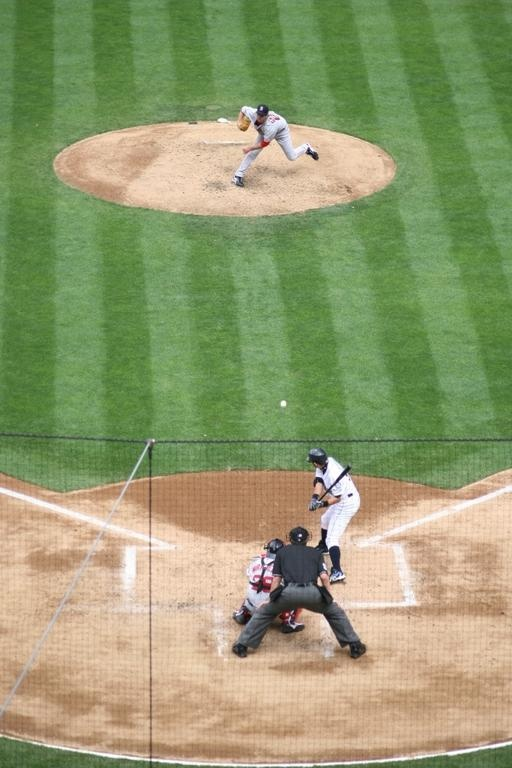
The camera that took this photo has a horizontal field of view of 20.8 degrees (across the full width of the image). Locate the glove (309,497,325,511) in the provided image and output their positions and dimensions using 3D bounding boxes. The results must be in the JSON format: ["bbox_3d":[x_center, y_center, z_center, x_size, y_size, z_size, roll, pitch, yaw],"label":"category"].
[{"bbox_3d":[0.672,1.353,15.477,0.153,0.070,0.150,13,61,13],"label":"glove"}]

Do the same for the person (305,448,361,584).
[{"bbox_3d":[0.870,1.584,15.892,0.662,1.310,0.763,-11,45,-9],"label":"person"}]

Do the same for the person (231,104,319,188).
[{"bbox_3d":[0.218,-3.783,21.098,1.529,1.262,0.611,-24,48,-25],"label":"person"}]

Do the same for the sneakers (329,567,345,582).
[{"bbox_3d":[0.919,2.194,15.812,0.257,0.154,0.088,-4,8,-19],"label":"sneakers"}]

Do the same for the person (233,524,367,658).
[{"bbox_3d":[0.476,2.318,15.056,1.271,1.233,0.603,3,16,1],"label":"person"}]

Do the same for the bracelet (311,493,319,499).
[{"bbox_3d":[0.662,1.259,15.439,0.057,0.055,0.058,4,6,42],"label":"bracelet"}]

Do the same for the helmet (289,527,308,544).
[{"bbox_3d":[0.443,1.584,14.574,0.142,0.114,0.194,1,37,-2],"label":"helmet"}]

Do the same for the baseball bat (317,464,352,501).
[{"bbox_3d":[0.869,1.119,15.612,0.516,0.058,0.086,-45,48,3],"label":"baseball bat"}]

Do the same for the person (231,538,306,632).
[{"bbox_3d":[0.150,2.196,15.026,0.806,0.894,0.614,8,-3,17],"label":"person"}]

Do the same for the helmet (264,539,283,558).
[{"bbox_3d":[0.179,1.751,14.787,0.155,0.202,0.185,8,41,6],"label":"helmet"}]

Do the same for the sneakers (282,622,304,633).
[{"bbox_3d":[0.399,2.662,15.158,0.245,0.107,0.094,-3,15,-15],"label":"sneakers"}]

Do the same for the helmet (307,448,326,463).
[{"bbox_3d":[0.671,0.809,15.575,0.179,0.146,0.135,32,24,35],"label":"helmet"}]

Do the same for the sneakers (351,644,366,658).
[{"bbox_3d":[1.075,2.836,14.755,0.079,0.158,0.161,-7,33,38],"label":"sneakers"}]
